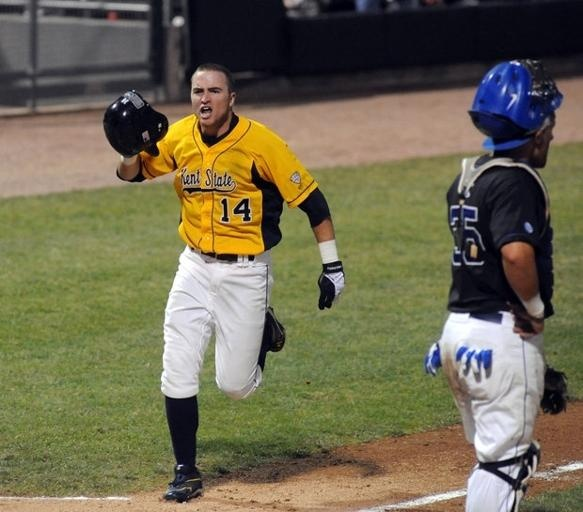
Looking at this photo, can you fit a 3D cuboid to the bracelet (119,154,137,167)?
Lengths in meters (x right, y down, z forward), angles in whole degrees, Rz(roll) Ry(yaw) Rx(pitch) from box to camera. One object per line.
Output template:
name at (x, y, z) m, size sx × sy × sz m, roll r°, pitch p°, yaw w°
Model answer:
bracelet at (-1.129, -0.664, 9.824) m, size 0.085 × 0.065 × 0.084 m, roll -2°, pitch 5°, yaw 2°

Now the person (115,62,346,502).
person at (-0.416, 0.109, 9.740) m, size 1.247 × 2.821 × 0.937 m, roll -5°, pitch 11°, yaw -18°

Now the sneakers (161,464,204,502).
sneakers at (-0.710, 1.517, 9.556) m, size 0.139 × 0.218 × 0.354 m, roll -8°, pitch -6°, yaw 40°

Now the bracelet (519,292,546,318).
bracelet at (1.471, 0.295, 8.694) m, size 0.107 × 0.138 × 0.084 m, roll -29°, pitch 8°, yaw -11°

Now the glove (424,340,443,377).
glove at (0.902, 0.649, 9.019) m, size 0.077 × 0.195 × 0.122 m, roll 6°, pitch 9°, yaw 9°

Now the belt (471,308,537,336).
belt at (1.332, 0.382, 8.737) m, size 0.226 × 0.116 × 0.174 m, roll 18°, pitch -6°, yaw -7°

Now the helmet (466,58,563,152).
helmet at (1.383, -1.023, 8.986) m, size 0.633 × 0.533 × 0.455 m, roll -28°, pitch 26°, yaw -23°

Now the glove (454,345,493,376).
glove at (1.124, 0.639, 8.721) m, size 0.226 × 0.168 × 0.094 m, roll 0°, pitch 11°, yaw 11°
